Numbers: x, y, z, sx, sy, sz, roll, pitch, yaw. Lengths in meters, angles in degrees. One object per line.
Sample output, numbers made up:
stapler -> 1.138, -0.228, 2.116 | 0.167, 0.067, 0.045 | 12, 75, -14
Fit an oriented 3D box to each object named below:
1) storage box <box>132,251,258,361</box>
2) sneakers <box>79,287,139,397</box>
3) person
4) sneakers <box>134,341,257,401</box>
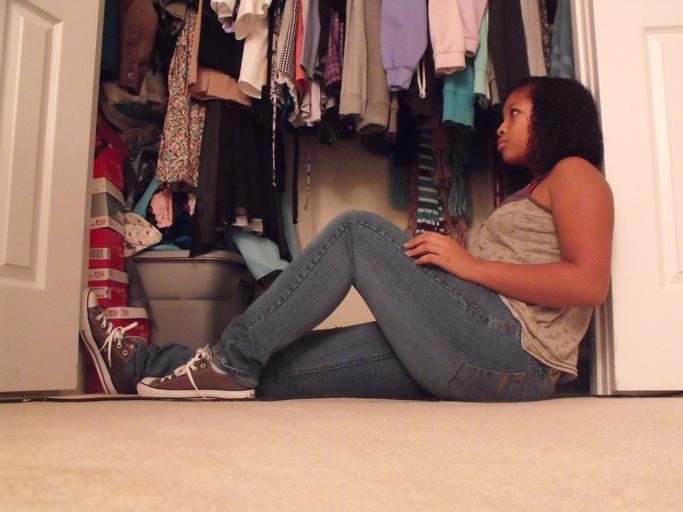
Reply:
storage box -> -0.549, 0.196, 2.698 | 0.396, 0.321, 0.345 | 1, -9, 1
sneakers -> -0.676, 0.261, 2.190 | 0.157, 0.375, 0.131 | -16, -23, 11
person -> 0.034, 0.047, 2.433 | 1.501, 0.990, 0.732 | 0, -7, 9
sneakers -> -0.391, 0.330, 2.070 | 0.352, 0.154, 0.125 | 4, -10, 4
